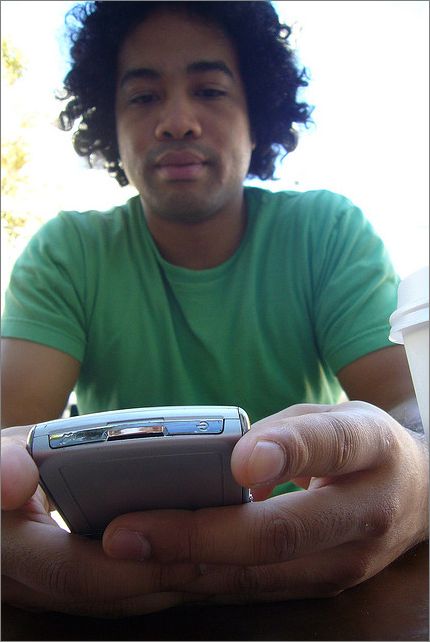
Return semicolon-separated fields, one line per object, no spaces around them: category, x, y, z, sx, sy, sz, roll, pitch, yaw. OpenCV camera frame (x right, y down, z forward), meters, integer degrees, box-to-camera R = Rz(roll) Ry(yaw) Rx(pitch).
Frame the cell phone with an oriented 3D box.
cell phone;-0.094;0.173;0.671;0.229;0.160;0.051;-5;51;3
